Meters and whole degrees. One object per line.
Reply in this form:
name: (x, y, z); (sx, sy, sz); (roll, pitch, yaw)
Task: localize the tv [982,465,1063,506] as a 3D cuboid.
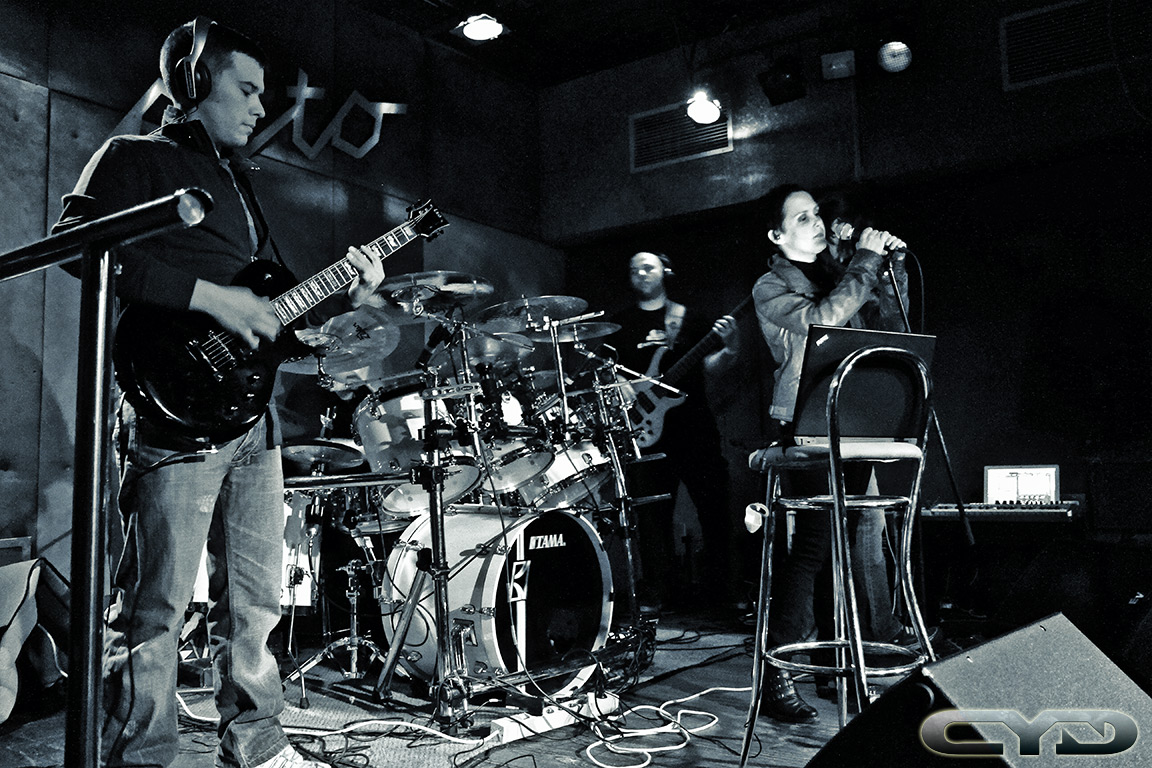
tv: (2.490, 0.569, 5.798); (0.427, 0.285, 0.235); (-4, -5, 37)

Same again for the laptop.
laptop: (1.103, 0.060, 4.159); (0.624, 0.423, 0.436); (2, 2, -15)

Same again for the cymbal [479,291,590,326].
cymbal: (-0.205, -0.423, 5.842); (0.618, 0.191, 0.363); (-1, 1, -36)

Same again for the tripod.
tripod: (-1.213, 1.379, 5.265); (0.631, 0.451, 0.466); (4, -25, -14)

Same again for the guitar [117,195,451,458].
guitar: (-1.236, -0.205, 4.389); (0.168, 0.601, 1.568); (-10, 24, 44)

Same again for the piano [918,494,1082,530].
piano: (2.279, 0.701, 5.544); (0.821, 0.132, 0.335); (0, 1, 16)

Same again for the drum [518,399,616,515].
drum: (-0.083, 0.374, 5.281); (0.421, 0.375, 0.402); (-5, -43, -38)

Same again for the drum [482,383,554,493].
drum: (-0.294, 0.377, 5.003); (0.342, 0.371, 0.308); (0, 1, -6)

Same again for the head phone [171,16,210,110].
head phone: (-1.427, -1.178, 3.804); (0.111, 0.248, 0.303); (10, 9, -22)
